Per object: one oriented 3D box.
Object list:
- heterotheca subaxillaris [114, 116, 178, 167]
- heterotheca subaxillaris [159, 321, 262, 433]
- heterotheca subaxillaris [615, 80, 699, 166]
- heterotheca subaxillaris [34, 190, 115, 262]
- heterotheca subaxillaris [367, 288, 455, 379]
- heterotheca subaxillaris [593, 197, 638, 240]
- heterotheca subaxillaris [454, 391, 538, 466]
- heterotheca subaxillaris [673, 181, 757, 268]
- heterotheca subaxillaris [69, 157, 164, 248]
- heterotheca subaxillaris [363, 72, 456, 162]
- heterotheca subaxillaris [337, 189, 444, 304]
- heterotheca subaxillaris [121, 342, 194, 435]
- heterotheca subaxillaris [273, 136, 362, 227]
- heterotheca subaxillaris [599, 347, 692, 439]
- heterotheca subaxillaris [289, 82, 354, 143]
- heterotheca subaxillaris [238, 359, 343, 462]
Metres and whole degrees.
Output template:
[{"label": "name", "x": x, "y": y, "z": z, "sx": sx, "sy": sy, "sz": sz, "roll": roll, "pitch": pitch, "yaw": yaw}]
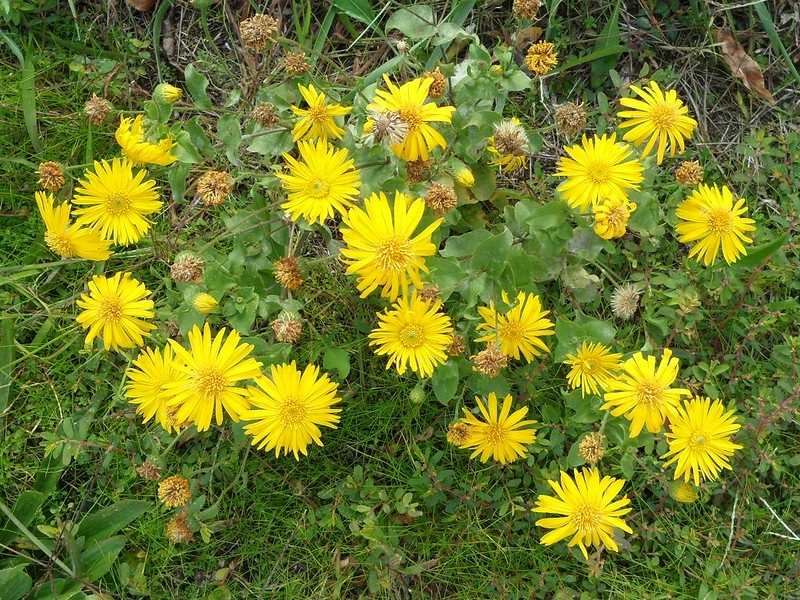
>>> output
[{"label": "heterotheca subaxillaris", "x": -1.006, "y": -0.619, "z": 2.410, "sx": 0.210, "sy": 0.115, "sz": 0.201, "roll": 17, "pitch": 30, "yaw": -41}, {"label": "heterotheca subaxillaris", "x": -0.696, "y": 0.292, "z": 2.276, "sx": 0.342, "sy": 0.217, "sz": 0.343, "roll": 18, "pitch": 65, "yaw": -4}, {"label": "heterotheca subaxillaris", "x": 1.051, "y": -0.719, "z": 2.511, "sx": 0.350, "sy": 0.337, "sz": 0.132, "roll": 10, "pitch": 97, "yaw": 7}, {"label": "heterotheca subaxillaris", "x": -1.275, "y": -0.281, "z": 2.506, "sx": 0.297, "sy": 0.112, "sz": 0.300, "roll": 48, "pitch": 34, "yaw": 1}, {"label": "heterotheca subaxillaris", "x": 0.034, "y": 0.093, "z": 2.216, "sx": 0.283, "sy": 0.260, "sz": 0.116, "roll": -26, "pitch": 109, "yaw": -17}, {"label": "heterotheca subaxillaris", "x": 0.826, "y": -0.304, "z": 2.379, "sx": 0.141, "sy": 0.161, "sz": 0.060, "roll": -25, "pitch": 62, "yaw": -2}, {"label": "heterotheca subaxillaris", "x": 0.396, "y": 0.534, "z": 2.553, "sx": 0.329, "sy": 0.341, "sz": 0.101, "roll": -20, "pitch": 112, "yaw": -47}, {"label": "heterotheca subaxillaris", "x": 1.338, "y": -0.322, "z": 2.587, "sx": 0.354, "sy": 0.359, "sz": 0.097, "roll": 16, "pitch": 82, "yaw": 6}, {"label": "heterotheca subaxillaris", "x": -1.095, "y": -0.394, "z": 2.463, "sx": 0.350, "sy": 0.140, "sz": 0.358, "roll": 29, "pitch": 94, "yaw": -23}, {"label": "heterotheca subaxillaris", "x": 0.043, "y": -0.696, "z": 2.337, "sx": 0.248, "sy": 0.193, "sz": 0.289, "roll": -27, "pitch": 75, "yaw": -21}, {"label": "heterotheca subaxillaris", "x": -0.043, "y": -0.189, "z": 2.234, "sx": 0.340, "sy": 0.312, "sz": 0.339, "roll": -8, "pitch": 69, "yaw": -14}, {"label": "heterotheca subaxillaris", "x": -0.949, "y": 0.338, "z": 2.397, "sx": 0.336, "sy": 0.116, "sz": 0.357, "roll": 9, "pitch": 111, "yaw": 18}, {"label": "heterotheca subaxillaris", "x": -0.318, "y": -0.475, "z": 2.344, "sx": 0.347, "sy": 0.343, "sz": 0.155, "roll": -7, "pitch": 78, "yaw": -36}, {"label": "heterotheca subaxillaris", "x": 0.920, "y": 0.362, "z": 2.359, "sx": 0.300, "sy": 0.243, "sz": 0.290, "roll": -14, "pitch": 71, "yaw": -17}, {"label": "heterotheca subaxillaris", "x": -0.311, "y": -0.730, "z": 2.376, "sx": 0.280, "sy": 0.316, "sz": 0.118, "roll": 27, "pitch": 103, "yaw": -12}, {"label": "heterotheca subaxillaris", "x": -0.420, "y": 0.404, "z": 2.286, "sx": 0.380, "sy": 0.115, "sz": 0.377, "roll": 35, "pitch": 96, "yaw": -13}]
